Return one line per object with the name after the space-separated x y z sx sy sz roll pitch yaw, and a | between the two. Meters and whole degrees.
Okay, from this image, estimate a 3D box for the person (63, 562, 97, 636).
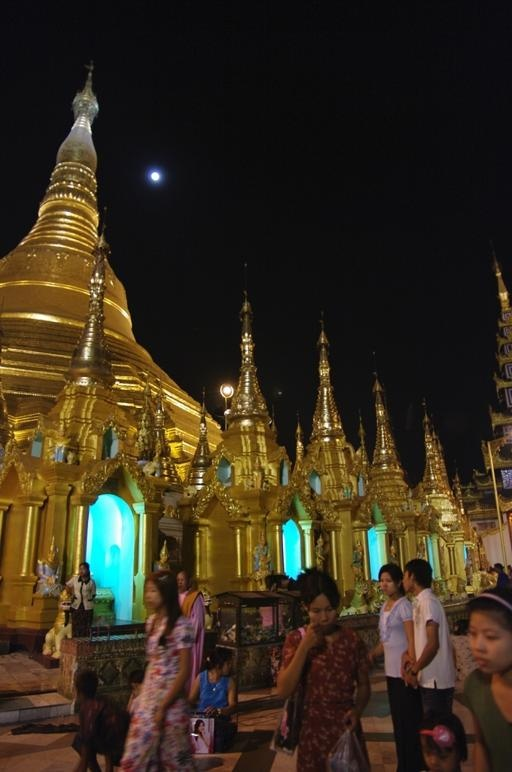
-1.977 2.455 7.135 0.323 0.872 0.235 2 9 -14 | person

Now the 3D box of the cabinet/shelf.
0.110 3.166 8.068 1.217 1.088 0.672 11 -19 -35 | cabinet/shelf

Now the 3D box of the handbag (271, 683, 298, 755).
0.161 1.569 2.971 0.081 0.206 0.049 22 -28 -14 | handbag
